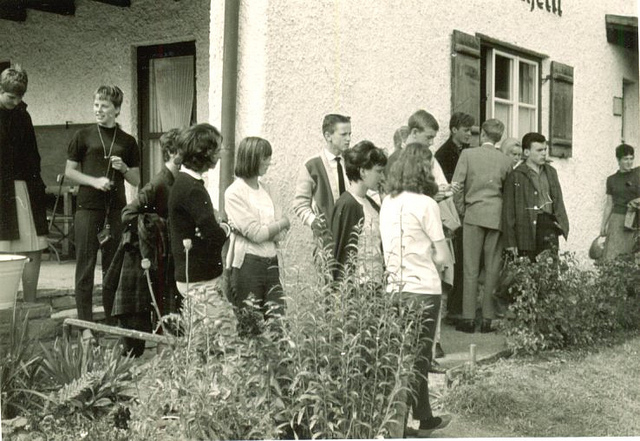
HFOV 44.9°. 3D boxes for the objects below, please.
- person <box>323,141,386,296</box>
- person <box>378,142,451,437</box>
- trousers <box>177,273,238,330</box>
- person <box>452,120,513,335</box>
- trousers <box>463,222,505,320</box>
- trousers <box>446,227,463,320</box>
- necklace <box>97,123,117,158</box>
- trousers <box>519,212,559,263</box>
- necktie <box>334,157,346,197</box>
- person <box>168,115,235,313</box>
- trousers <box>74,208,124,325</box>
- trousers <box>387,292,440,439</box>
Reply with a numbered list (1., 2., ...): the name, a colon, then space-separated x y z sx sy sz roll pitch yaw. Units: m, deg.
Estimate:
1. person: 0.295 -0.052 6.703 0.553 1.302 1.188 1 1 4
2. person: 0.800 0.567 6.436 0.622 2.453 0.714 1 1 5
3. trousers: -0.929 0.640 6.309 0.415 0.330 1.012 1 2 -13
4. person: 1.889 0.065 9.080 0.676 2.487 0.381 1 1 4
5. trousers: 1.920 0.586 9.055 0.484 1.130 0.292 1 1 8
6. trousers: 1.648 0.638 9.430 0.183 1.110 0.225 1 1 6
7. necklace: -2.091 -0.774 7.650 0.180 0.311 0.055 0 1 -19
8. trousers: 2.501 0.203 8.918 0.484 0.732 0.383 1 -5 -4
9. necktie: 0.206 -0.436 7.539 0.110 0.366 0.070 0 1 -41
10. person: -1.002 0.015 6.648 0.557 1.695 1.318 1 1 -10
11. trousers: -2.177 0.353 7.713 0.476 1.497 0.366 1 29 -23
12. trousers: 0.792 1.181 6.417 0.340 1.221 0.580 1 1 21
